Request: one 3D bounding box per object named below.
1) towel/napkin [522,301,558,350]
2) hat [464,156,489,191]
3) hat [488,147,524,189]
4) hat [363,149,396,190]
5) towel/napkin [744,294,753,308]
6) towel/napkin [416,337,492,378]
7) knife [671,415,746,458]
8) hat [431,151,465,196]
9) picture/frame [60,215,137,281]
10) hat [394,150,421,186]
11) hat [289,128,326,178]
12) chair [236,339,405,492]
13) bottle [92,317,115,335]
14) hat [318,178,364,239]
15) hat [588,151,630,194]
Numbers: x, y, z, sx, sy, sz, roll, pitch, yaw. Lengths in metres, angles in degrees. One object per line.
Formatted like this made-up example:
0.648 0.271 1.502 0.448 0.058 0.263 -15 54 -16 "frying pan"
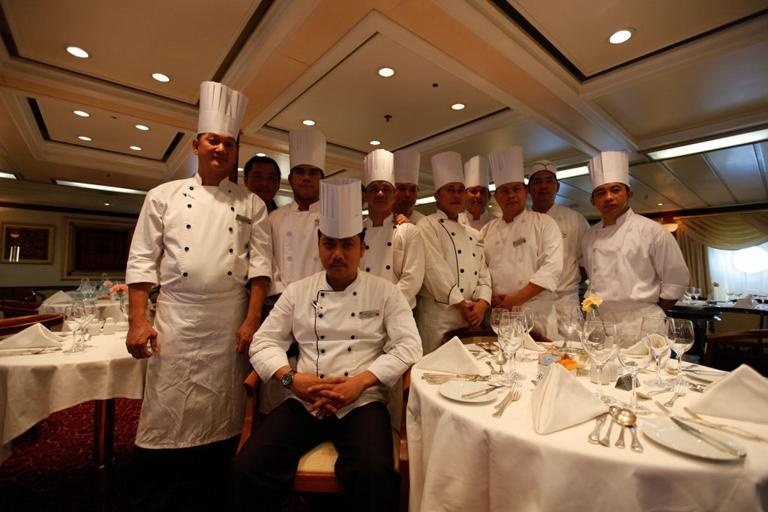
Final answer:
1.332 0.596 4.158 0.334 0.408 0.369 -1 -9 -5 "towel/napkin"
0.979 -0.907 5.176 0.267 0.304 0.326 -2 8 1 "hat"
1.269 -0.891 5.008 0.337 0.334 0.400 -10 -12 11 "hat"
-0.042 -0.811 4.514 0.281 0.296 0.303 2 8 2 "hat"
6.567 0.805 8.735 0.144 0.158 0.275 -4 -1 30 "towel/napkin"
0.494 0.711 3.414 0.249 0.187 0.417 22 -23 -40 "towel/napkin"
1.911 1.071 2.858 0.303 0.042 0.047 30 -16 31 "knife"
0.566 -0.826 4.823 0.341 0.394 0.357 -11 -1 -25 "hat"
-6.267 -0.182 10.462 0.088 1.228 1.204 2 -16 37 "picture/frame"
0.235 -0.892 4.919 0.277 0.283 0.321 1 -5 0 "hat"
-0.695 -0.954 4.468 0.313 0.284 0.366 -1 -2 4 "hat"
-0.386 1.188 3.480 0.808 1.242 0.981 -1 -28 3 "chair"
-2.609 0.640 4.491 0.247 0.171 0.141 0 -4 -2 "bottle"
-0.313 -0.358 3.796 0.370 0.434 0.417 -1 -6 3 "hat"
2.232 -0.830 4.851 0.336 0.299 0.392 -4 5 7 "hat"
